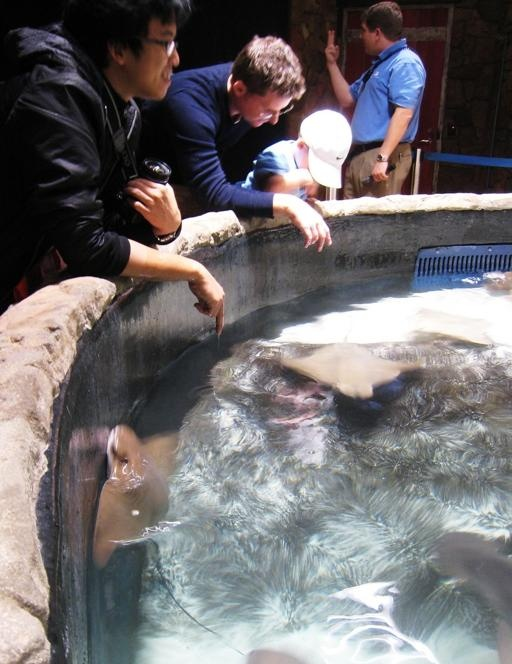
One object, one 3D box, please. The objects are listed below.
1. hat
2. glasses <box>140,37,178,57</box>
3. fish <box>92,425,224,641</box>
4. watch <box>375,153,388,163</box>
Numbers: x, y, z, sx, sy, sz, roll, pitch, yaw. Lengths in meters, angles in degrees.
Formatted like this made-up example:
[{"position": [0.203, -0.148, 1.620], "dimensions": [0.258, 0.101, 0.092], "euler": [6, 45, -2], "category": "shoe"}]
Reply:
[{"position": [0.331, -0.893, 2.991], "dimensions": [0.268, 0.370, 0.207], "euler": [-11, -11, -28], "category": "hat"}, {"position": [-0.230, -0.712, 1.481], "dimensions": [0.059, 0.015, 0.054], "euler": [8, 11, 9], "category": "glasses"}, {"position": [-0.300, 0.403, 1.340], "dimensions": [0.145, 0.210, 0.566], "euler": [-1, 20, -25], "category": "fish"}, {"position": [0.774, -1.069, 3.670], "dimensions": [0.049, 0.034, 0.066], "euler": [9, 12, 40], "category": "watch"}]
